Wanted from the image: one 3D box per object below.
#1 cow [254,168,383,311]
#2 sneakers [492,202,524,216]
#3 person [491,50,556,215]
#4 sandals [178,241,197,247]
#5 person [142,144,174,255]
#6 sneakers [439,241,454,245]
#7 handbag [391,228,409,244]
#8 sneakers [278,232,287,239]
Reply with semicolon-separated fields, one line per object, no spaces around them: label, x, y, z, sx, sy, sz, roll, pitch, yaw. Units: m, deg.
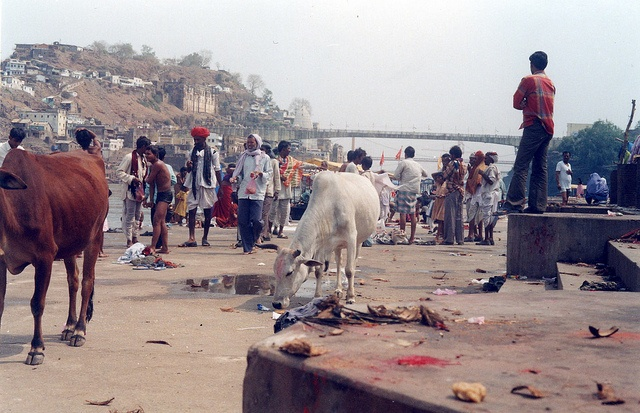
cow;0.070;0.365;12.056;0.777;1.573;2.284;-2;9;22
sneakers;2.620;0.028;13.207;0.468;0.185;0.167;1;2;-12
person;2.868;-0.998;13.154;0.776;2.199;0.443;-6;9;-2
sandals;-2.398;0.677;17.327;0.304;0.078;0.116;6;-10;-33
person;-2.681;-0.125;16.011;0.473;1.757;1.297;-7;9;-8
sneakers;2.498;0.721;19.016;0.275;0.103;0.089;5;-10;7
handbag;1.575;0.519;19.089;0.310;0.313;0.238;-4;36;-16
sneakers;-0.780;0.593;19.729;0.081;0.083;0.216;3;-1;-33
